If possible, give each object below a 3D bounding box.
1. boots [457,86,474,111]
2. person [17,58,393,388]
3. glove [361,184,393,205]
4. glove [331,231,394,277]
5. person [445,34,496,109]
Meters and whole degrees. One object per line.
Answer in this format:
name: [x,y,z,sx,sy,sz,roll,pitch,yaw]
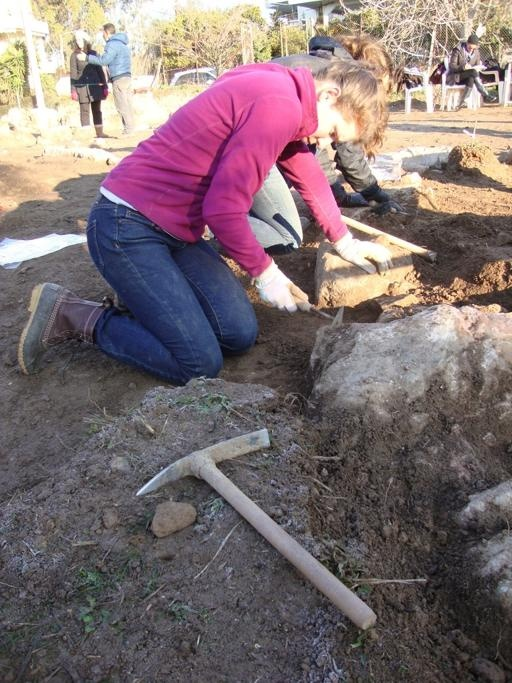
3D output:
boots: [4.223,-4.975,11.067,0.155,0.288,0.418,-20,-15,13]
person: [-0.254,-0.435,2.217,1.469,1.248,0.486,4,22,16]
glove: [0.838,-1.019,3.793,0.192,0.084,0.253,17,11,7]
glove: [0.556,-0.469,2.873,0.312,0.082,0.200,30,65,23]
person: [3.951,-5.194,10.394,0.646,1.018,1.257,8,22,27]
